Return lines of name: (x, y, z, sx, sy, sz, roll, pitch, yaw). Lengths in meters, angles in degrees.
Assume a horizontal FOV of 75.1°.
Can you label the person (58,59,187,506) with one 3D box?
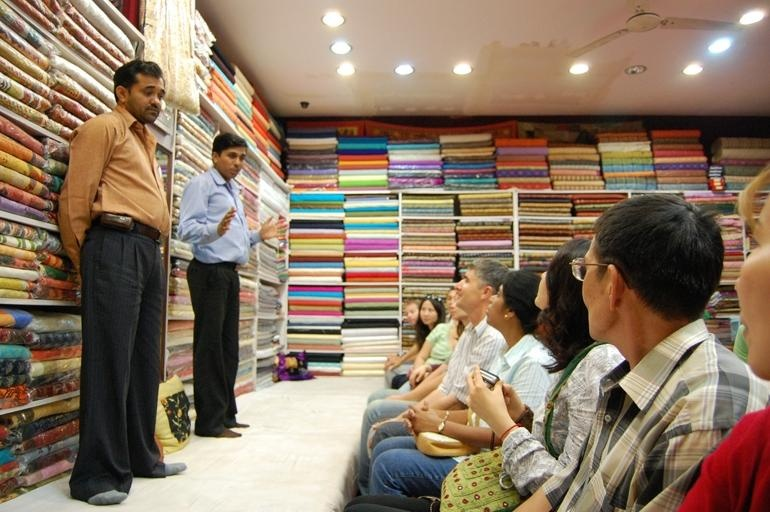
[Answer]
person: (-1.330, 0.052, 2.572, 0.394, 2.168, 0.490, -2, -6, 14)
